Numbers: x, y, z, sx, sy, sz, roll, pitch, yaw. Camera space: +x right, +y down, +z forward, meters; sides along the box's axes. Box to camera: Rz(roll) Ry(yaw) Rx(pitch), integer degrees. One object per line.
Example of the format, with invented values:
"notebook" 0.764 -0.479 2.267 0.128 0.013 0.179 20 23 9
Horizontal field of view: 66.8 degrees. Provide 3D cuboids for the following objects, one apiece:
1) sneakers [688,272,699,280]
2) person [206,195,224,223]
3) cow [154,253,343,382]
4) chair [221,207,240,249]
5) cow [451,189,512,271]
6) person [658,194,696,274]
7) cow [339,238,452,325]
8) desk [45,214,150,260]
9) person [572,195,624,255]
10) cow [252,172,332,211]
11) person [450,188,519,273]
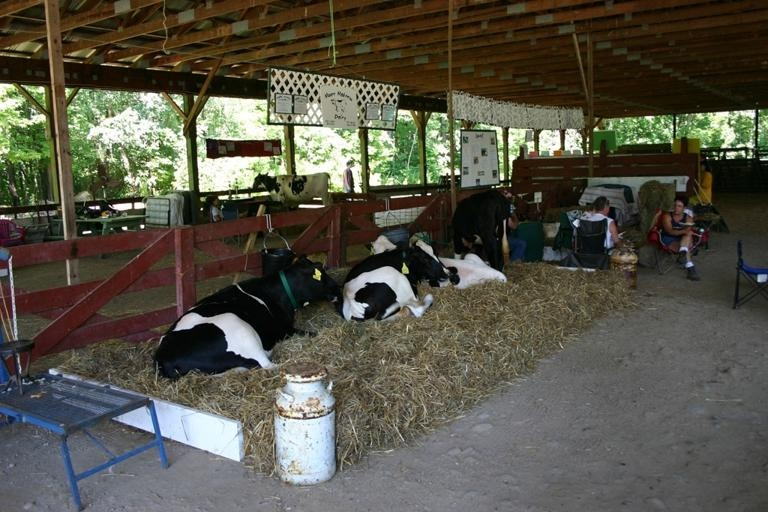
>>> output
"sneakers" 3.943 0.244 7.452 0.148 0.112 0.268 5 10 27
"person" -3.361 -0.942 11.669 0.285 0.466 1.479 -3 10 -17
"cow" -1.146 0.538 5.025 1.716 0.665 1.015 -19 19 -42
"chair" -2.957 -0.598 11.369 0.375 0.787 1.557 -2 10 -15
"cow" 1.205 -0.263 7.515 0.956 0.949 0.879 0 -3 12
"person" 3.902 -0.264 7.739 0.458 0.992 0.788 4 10 24
"cow" 0.060 0.227 5.807 0.942 0.423 1.278 15 31 23
"desk" -5.217 -0.360 10.568 1.693 0.728 1.452 -1 9 -6
"person" 2.662 -0.401 7.376 0.560 0.684 0.413 0 9 2
"cow" -2.081 -1.558 13.702 1.683 0.771 0.790 1 9 6
"person" 1.501 -0.371 7.652 1.038 1.216 0.900 -3 7 -43
